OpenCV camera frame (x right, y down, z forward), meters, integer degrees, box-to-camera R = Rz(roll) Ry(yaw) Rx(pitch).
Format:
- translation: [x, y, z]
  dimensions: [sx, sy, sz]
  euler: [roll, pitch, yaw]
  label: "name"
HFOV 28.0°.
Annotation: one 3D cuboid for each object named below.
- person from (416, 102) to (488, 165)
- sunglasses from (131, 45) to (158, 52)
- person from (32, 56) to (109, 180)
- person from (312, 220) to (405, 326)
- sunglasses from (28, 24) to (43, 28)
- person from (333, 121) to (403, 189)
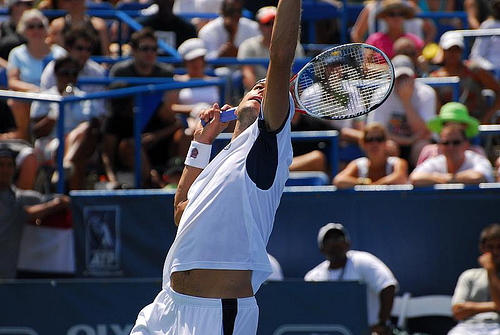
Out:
- translation: [2.488, -0.555, 12.128]
  dimensions: [0.553, 0.400, 0.899]
  euler: [2, -28, 6]
  label: "person"
- translation: [-1.408, -1.615, 13.372]
  dimensions: [0.317, 0.077, 0.134]
  euler: [-1, 9, -5]
  label: "sunglasses"
- translation: [-2.231, -0.663, 12.274]
  dimensions: [0.808, 1.389, 1.405]
  euler: [0, 8, 2]
  label: "person"
- translation: [1.165, 1.175, 10.792]
  dimensions: [0.977, 1.076, 0.823]
  euler: [1, 8, 9]
  label: "person"
- translation: [-2.862, -1.914, 13.407]
  dimensions: [0.195, 0.045, 0.048]
  euler: [-5, 9, -27]
  label: "sunglasses"
- translation: [1.477, -0.093, 12.119]
  dimensions: [0.699, 1.148, 0.970]
  euler: [0, -8, 27]
  label: "person"
